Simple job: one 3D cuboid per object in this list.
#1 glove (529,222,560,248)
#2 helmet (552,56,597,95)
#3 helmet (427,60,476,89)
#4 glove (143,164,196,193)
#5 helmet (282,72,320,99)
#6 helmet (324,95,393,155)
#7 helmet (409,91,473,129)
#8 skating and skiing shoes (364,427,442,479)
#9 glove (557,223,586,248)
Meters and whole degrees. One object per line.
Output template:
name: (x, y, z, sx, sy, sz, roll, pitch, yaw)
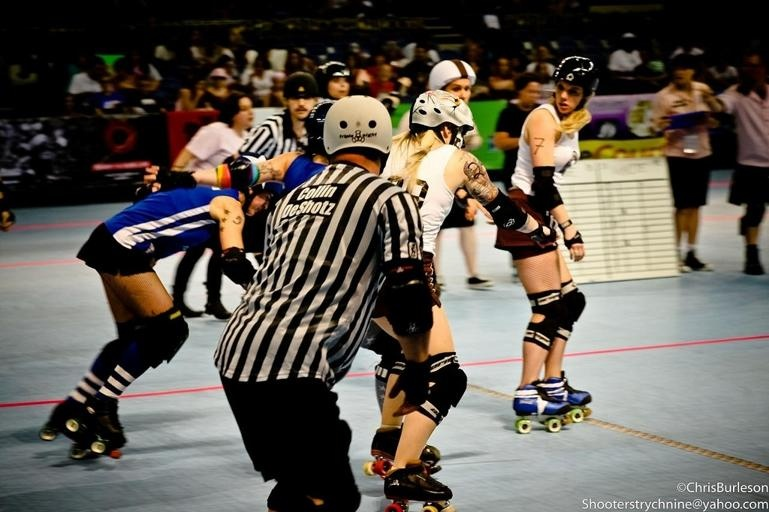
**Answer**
glove: (1.045, -0.128, 5.032, 0.118, 0.127, 0.400, 11, -7, 22)
helmet: (1.354, -1.261, 5.391, 0.260, 0.218, 0.337, 22, 28, 37)
helmet: (0.502, -1.439, 6.224, 0.389, 0.231, 0.342, 1, 16, 30)
glove: (-1.447, -0.514, 5.101, 0.358, 0.118, 0.188, 0, 21, 38)
helmet: (-0.746, -1.493, 6.828, 0.295, 0.172, 0.267, -1, 4, -6)
helmet: (-0.080, -0.583, 3.810, 0.427, 0.371, 0.455, -1, 8, -7)
helmet: (0.360, -0.906, 4.750, 0.443, 0.179, 0.290, 3, 13, -7)
skating and skiing shoes: (0.138, 1.147, 4.516, 0.494, 0.237, 0.158, -5, -17, 29)
glove: (1.335, -0.165, 5.430, 0.148, 0.189, 0.315, 2, 14, 15)
